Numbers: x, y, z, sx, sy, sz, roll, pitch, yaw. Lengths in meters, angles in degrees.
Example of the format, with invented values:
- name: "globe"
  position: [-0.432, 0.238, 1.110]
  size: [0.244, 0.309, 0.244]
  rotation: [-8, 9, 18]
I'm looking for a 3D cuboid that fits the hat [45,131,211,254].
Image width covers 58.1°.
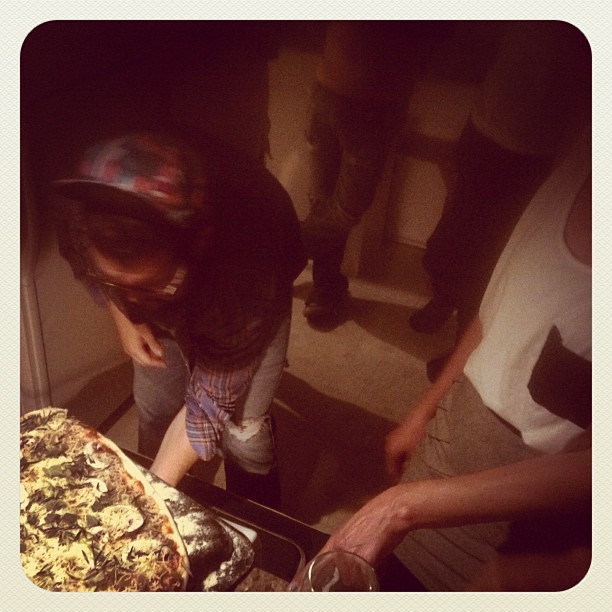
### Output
- name: "hat"
  position: [-0.329, -0.270, 1.159]
  size: [0.265, 0.230, 0.375]
  rotation: [11, -1, -43]
